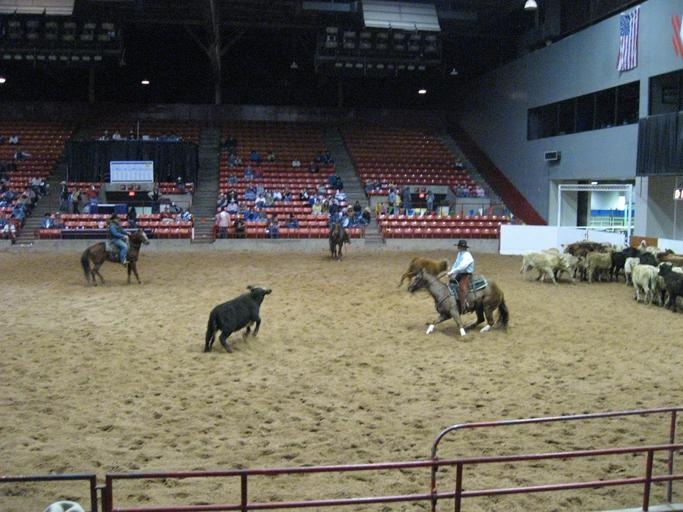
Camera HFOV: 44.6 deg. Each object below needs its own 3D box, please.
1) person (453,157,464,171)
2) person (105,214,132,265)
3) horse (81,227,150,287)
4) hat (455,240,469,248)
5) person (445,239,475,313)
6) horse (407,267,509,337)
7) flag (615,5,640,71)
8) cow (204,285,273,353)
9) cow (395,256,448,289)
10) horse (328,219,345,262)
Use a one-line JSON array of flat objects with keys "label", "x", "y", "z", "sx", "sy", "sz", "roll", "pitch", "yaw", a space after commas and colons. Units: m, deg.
[{"label": "person", "x": 6.656, "y": -5.301, "z": 47.590, "sx": 0.372, "sy": 0.852, "sz": 1.478, "roll": -2, "pitch": 9, "yaw": 10}, {"label": "person", "x": -7.379, "y": -0.596, "z": 27.708, "sx": 0.601, "sy": 1.656, "sz": 0.617, "roll": -1, "pitch": 3, "yaw": -16}, {"label": "horse", "x": -7.532, "y": 0.033, "z": 28.117, "sx": 2.290, "sy": 1.892, "sz": 0.699, "roll": -5, "pitch": 12, "yaw": -18}, {"label": "hat", "x": 3.297, "y": -0.335, "z": 23.394, "sx": 0.340, "sy": 0.167, "sz": 0.410, "roll": -1, "pitch": -1, "yaw": 0}, {"label": "person", "x": 3.286, "y": 0.565, "z": 23.475, "sx": 0.677, "sy": 2.048, "sz": 1.068, "roll": 1, "pitch": 3, "yaw": 8}, {"label": "horse", "x": 3.285, "y": 1.283, "z": 23.408, "sx": 2.845, "sy": 1.901, "sz": 0.966, "roll": -1, "pitch": 5, "yaw": -11}, {"label": "flag", "x": 12.153, "y": -9.347, "z": 35.739, "sx": 0.273, "sy": 2.607, "sz": 1.484, "roll": 0, "pitch": 3, "yaw": -13}, {"label": "cow", "x": -2.754, "y": 1.643, "z": 22.483, "sx": 0.635, "sy": 1.462, "sz": 2.191, "roll": 12, "pitch": 22, "yaw": 42}, {"label": "cow", "x": 2.466, "y": 0.539, "z": 26.513, "sx": 1.773, "sy": 1.224, "sz": 0.441, "roll": -5, "pitch": 23, "yaw": -13}, {"label": "horse", "x": -0.235, "y": -0.797, "z": 34.457, "sx": 0.677, "sy": 1.587, "sz": 2.439, "roll": 3, "pitch": -9, "yaw": 3}]
